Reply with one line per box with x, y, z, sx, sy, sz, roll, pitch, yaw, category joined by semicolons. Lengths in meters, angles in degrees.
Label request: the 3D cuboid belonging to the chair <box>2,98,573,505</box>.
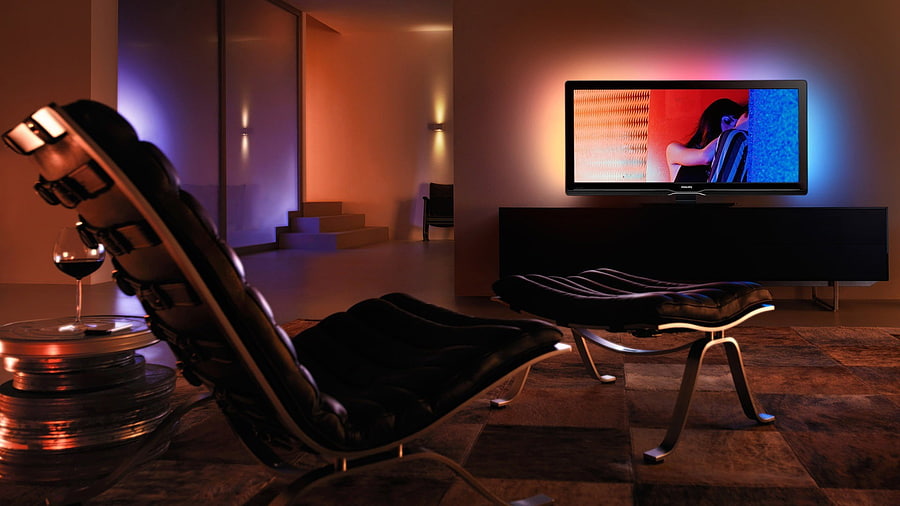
-0.526;0.128;3.131;2.490;1.483;1.512;-2;4;-25;chair

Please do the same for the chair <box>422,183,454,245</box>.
-0.111;-0.613;9.960;0.709;0.740;0.646;2;-6;9;chair

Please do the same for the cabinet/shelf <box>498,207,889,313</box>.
1.883;0.071;5.218;3.013;0.710;0.506;0;-7;3;cabinet/shelf

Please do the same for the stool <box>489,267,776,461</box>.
0.915;0.472;3.429;1.035;0.588;1.280;-2;2;-26;stool
